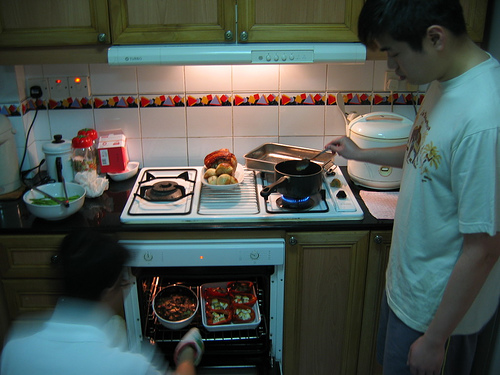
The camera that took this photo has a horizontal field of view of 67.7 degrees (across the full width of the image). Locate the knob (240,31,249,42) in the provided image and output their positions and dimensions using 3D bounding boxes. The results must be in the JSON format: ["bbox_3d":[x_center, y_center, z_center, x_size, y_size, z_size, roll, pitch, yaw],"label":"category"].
[{"bbox_3d":[-0.029,-0.728,1.799,0.036,0.039,0.016,-2,14,-10],"label":"knob"}]

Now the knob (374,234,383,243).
[{"bbox_3d":[0.626,0.251,1.813,0.040,0.041,0.018,-4,18,-4],"label":"knob"}]

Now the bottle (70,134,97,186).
[{"bbox_3d":[-0.944,-0.167,2.102,0.143,0.252,0.287,-11,20,-22],"label":"bottle"}]

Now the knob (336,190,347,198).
[{"bbox_3d":[0.476,0.037,1.935,0.036,0.022,0.038,2,13,10],"label":"knob"}]

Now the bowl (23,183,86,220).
[{"bbox_3d":[-0.994,0.064,1.896,0.285,0.138,0.296,-3,19,1],"label":"bowl"}]

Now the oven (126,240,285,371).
[{"bbox_3d":[-0.213,0.593,1.858,0.685,0.694,0.413,0,18,0],"label":"oven"}]

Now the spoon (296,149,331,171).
[{"bbox_3d":[0.335,-0.169,1.947,0.037,0.056,0.258,-1,30,46],"label":"spoon"}]

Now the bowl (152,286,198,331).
[{"bbox_3d":[-0.414,0.650,2.013,0.224,0.118,0.237,1,28,0],"label":"bowl"}]

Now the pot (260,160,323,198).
[{"bbox_3d":[0.232,-0.031,1.814,0.169,0.098,0.293,17,35,34],"label":"pot"}]

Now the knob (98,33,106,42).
[{"bbox_3d":[-0.713,-0.719,1.786,0.030,0.033,0.010,1,1,-6],"label":"knob"}]

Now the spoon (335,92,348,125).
[{"bbox_3d":[0.537,-0.461,2.164,0.066,0.181,0.223,2,19,14],"label":"spoon"}]

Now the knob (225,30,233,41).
[{"bbox_3d":[-0.104,-0.733,1.801,0.032,0.041,0.014,0,13,7],"label":"knob"}]

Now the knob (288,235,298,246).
[{"bbox_3d":[0.208,0.253,1.800,0.042,0.046,0.014,-1,5,0],"label":"knob"}]
